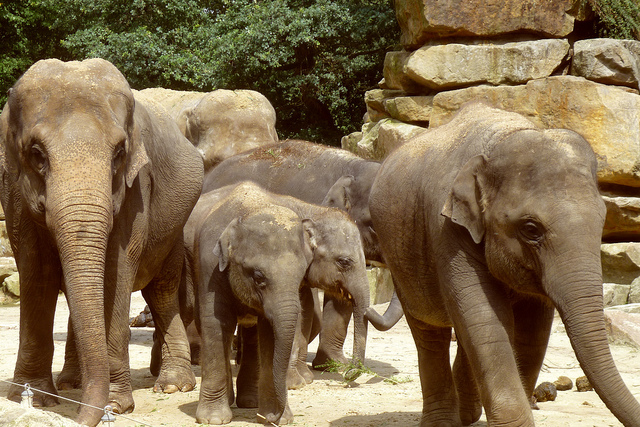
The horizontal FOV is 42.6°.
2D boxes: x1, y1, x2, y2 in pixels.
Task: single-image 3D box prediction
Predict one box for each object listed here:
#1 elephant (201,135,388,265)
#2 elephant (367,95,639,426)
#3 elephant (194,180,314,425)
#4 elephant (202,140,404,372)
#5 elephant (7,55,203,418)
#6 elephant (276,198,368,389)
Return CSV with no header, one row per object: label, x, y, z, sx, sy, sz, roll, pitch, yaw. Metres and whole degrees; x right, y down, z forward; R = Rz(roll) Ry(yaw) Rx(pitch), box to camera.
elephant,-0.203,-0.199,7.387,1.944,1.126,0.850,6,4,33
elephant,1.064,0.356,4.965,0.739,2.079,1.743,-2,4,-32
elephant,-0.529,0.627,5.812,0.903,1.637,0.680,3,4,38
elephant,-0.196,0.526,7.720,1.015,1.901,2.490,-10,13,10
elephant,-1.669,0.159,6.272,1.056,2.572,1.913,1,3,16
elephant,-0.065,0.594,6.920,0.724,1.412,1.727,-1,4,-27
